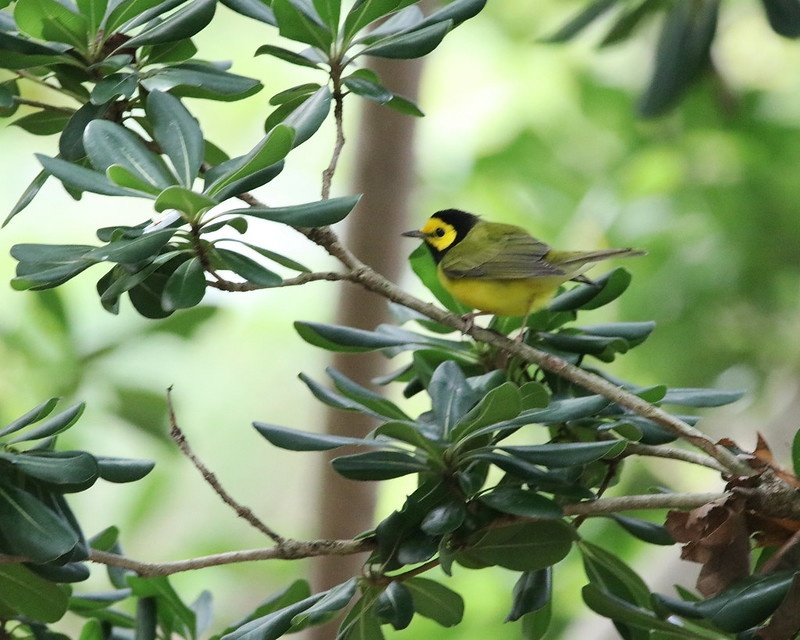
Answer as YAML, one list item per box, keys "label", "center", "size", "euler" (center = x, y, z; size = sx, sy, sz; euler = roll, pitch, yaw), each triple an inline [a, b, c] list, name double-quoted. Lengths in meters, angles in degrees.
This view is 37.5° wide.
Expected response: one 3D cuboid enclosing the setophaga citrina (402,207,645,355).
- label: "setophaga citrina"
  center: [0.560, -0.235, 4.762]
  size: [1.276, 0.490, 0.397]
  euler: [2, 8, 25]
